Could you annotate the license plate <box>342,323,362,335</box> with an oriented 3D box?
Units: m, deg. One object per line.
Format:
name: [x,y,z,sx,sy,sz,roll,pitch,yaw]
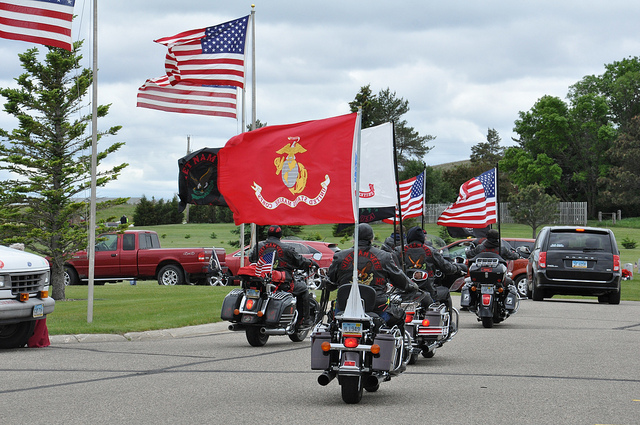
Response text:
license plate: [0.467,1.731,11.437,0.301,0.150,0.186,0,-8,8]

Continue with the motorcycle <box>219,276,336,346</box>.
motorcycle: [-0.841,2.137,16.956,1.464,1.385,2.592,-2,-1,34]

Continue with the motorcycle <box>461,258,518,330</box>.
motorcycle: [4.117,2.025,19.222,1.168,1.736,1.080,-3,-7,43]

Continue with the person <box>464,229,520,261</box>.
person: [4.870,0.963,22.338,1.261,1.493,0.646,2,6,10]

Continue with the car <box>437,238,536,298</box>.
car: [5.741,1.983,27.634,4.124,1.971,2.495,3,-1,-1]

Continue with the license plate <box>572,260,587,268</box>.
license plate: [7.999,1.609,23.935,0.422,0.236,0.076,0,-5,16]

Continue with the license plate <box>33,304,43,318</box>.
license plate: [-5.582,1.954,15.281,0.042,0.293,0.316,2,1,33]

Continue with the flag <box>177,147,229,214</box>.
flag: [-2.809,-0.768,18.400,1.476,1.533,0.175,-1,-1,23]

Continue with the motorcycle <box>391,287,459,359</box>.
motorcycle: [1.801,2.034,14.111,0.925,0.997,1.836,-10,-7,20]

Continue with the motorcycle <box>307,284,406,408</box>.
motorcycle: [0.571,1.988,11.557,1.407,1.791,0.920,2,-5,-7]

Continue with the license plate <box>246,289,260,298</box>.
license plate: [-1.426,1.722,16.297,0.198,0.170,0.050,-2,-26,10]

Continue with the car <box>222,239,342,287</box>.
car: [-1.640,2.139,30.173,4.773,1.531,2.129,2,-1,3]

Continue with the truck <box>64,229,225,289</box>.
truck: [-6.947,1.929,30.710,5.927,1.888,2.551,1,-3,4]

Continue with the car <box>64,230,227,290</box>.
car: [-6.896,1.921,30.344,6.047,1.753,2.479,1,-3,4]

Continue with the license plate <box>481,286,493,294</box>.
license plate: [4.043,1.909,18.806,0.276,0.169,0.143,-2,1,5]
